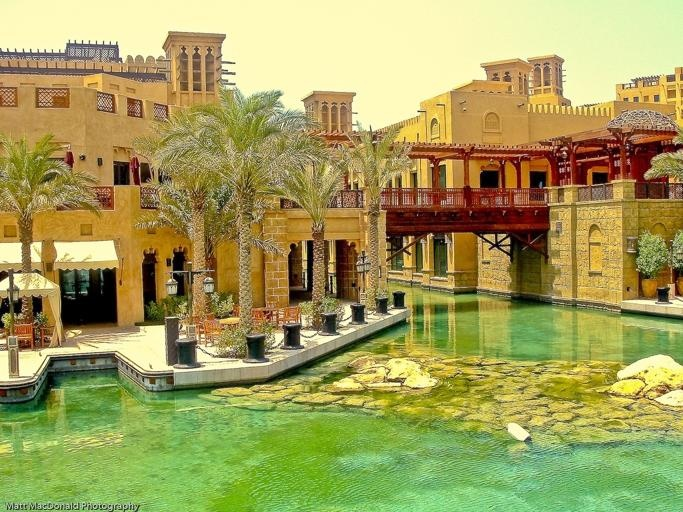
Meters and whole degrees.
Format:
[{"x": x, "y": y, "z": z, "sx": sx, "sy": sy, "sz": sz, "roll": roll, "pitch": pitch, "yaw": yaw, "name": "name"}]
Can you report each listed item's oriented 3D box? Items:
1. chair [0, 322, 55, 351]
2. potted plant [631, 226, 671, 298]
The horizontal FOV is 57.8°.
[{"x": -10.436, "y": 2.675, "z": 20.500, "sx": 1.361, "sy": 0.691, "sz": 0.430, "roll": 0, "pitch": -5, "yaw": -10, "name": "chair"}, {"x": 14.534, "y": 0.386, "z": 28.774, "sx": 1.936, "sy": 3.077, "sz": 1.267, "roll": -10, "pitch": 12, "yaw": -40, "name": "potted plant"}]
